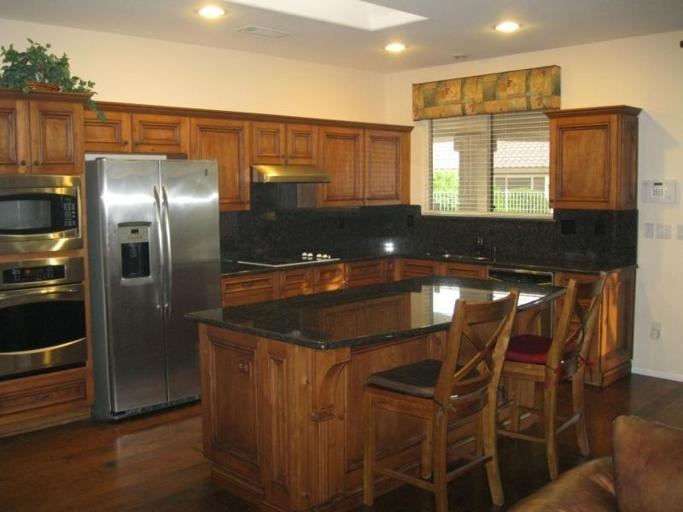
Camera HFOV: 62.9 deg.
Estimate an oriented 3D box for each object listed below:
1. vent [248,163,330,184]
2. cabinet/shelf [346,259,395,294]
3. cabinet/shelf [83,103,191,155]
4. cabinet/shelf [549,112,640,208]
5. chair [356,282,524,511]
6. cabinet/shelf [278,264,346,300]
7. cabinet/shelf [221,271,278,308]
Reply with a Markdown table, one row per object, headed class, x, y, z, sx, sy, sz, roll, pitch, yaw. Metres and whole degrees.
| class | x | y | z | sx | sy | sz | roll | pitch | yaw |
| --- | --- | --- | --- | --- | --- | --- | --- | --- | --- |
| vent | -0.503 | -0.817 | 5.531 | 0.280 | 0.183 | 0.850 | 5 | 8 | 41 |
| cabinet/shelf | 0.310 | 0.181 | 6.088 | 0.570 | 0.322 | 0.320 | -4 | 5 | -40 |
| cabinet/shelf | -1.768 | -1.046 | 4.687 | 0.922 | 0.254 | 0.245 | -2 | 20 | -14 |
| cabinet/shelf | 2.335 | -0.898 | 5.210 | 0.808 | 0.929 | 0.394 | 2 | 8 | 21 |
| chair | 0.608 | 0.763 | 3.097 | 0.672 | 1.216 | 0.828 | 5 | 9 | 38 |
| cabinet/shelf | -0.301 | 0.236 | 5.586 | 0.349 | 0.357 | 0.653 | 2 | 7 | 45 |
| cabinet/shelf | -0.954 | 0.356 | 5.203 | 0.608 | 0.352 | 0.332 | -7 | 7 | -43 |
